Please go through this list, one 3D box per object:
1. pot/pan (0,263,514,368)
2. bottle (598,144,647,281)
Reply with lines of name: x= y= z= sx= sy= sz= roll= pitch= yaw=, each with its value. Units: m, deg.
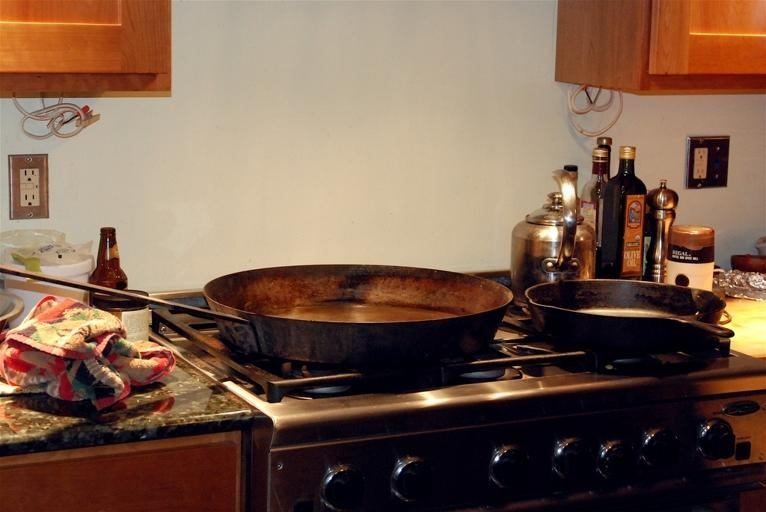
pot/pan: x=-0.156 y=0.124 z=1.396 sx=0.871 sy=0.096 sz=0.401 roll=2 pitch=2 yaw=-11
bottle: x=0.692 y=-0.077 z=1.834 sx=0.122 sy=0.292 sz=0.043 roll=1 pitch=9 yaw=13
